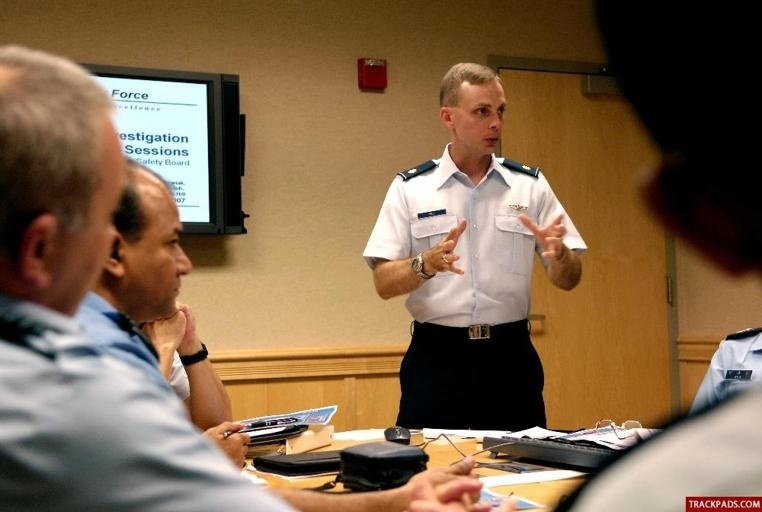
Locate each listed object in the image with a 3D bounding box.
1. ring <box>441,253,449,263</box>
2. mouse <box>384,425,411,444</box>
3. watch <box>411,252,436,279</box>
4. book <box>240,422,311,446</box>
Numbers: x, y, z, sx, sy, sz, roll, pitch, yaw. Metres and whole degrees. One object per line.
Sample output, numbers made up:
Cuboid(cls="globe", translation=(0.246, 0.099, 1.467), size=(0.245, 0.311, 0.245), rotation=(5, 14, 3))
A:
Cuboid(cls="ring", translation=(0.229, 0.005, 2.400), size=(0.024, 0.024, 0.024), rotation=(-1, -11, 0))
Cuboid(cls="mouse", translation=(0.045, 0.510, 1.952), size=(0.081, 0.049, 0.029), rotation=(3, -3, -7))
Cuboid(cls="watch", translation=(0.149, 0.041, 2.496), size=(0.086, 0.086, 0.051), rotation=(18, -46, -24))
Cuboid(cls="book", translation=(-0.303, 0.498, 1.955), size=(0.146, 0.035, 0.088), rotation=(-12, -5, -9))
